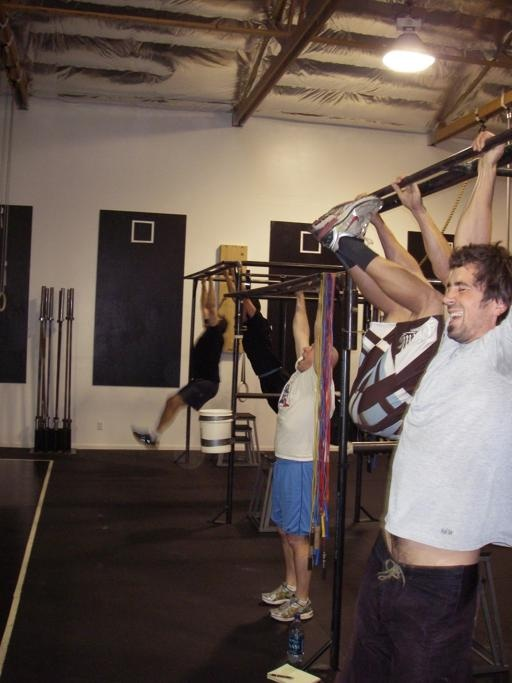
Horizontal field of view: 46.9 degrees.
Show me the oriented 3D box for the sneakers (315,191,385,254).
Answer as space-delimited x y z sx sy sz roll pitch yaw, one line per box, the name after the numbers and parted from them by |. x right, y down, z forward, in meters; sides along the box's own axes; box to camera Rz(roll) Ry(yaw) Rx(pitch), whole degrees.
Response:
0.271 -0.381 1.853 0.231 0.108 0.133 -35 -32 3 | sneakers

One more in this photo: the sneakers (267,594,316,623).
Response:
0.193 1.404 3.130 0.318 0.135 0.123 2 -11 -7 | sneakers

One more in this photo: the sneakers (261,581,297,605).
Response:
0.130 1.432 3.347 0.217 0.090 0.084 -5 -2 -22 | sneakers

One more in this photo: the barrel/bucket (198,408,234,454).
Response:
-0.371 0.711 4.722 0.332 0.333 0.321 0 -3 0 | barrel/bucket
